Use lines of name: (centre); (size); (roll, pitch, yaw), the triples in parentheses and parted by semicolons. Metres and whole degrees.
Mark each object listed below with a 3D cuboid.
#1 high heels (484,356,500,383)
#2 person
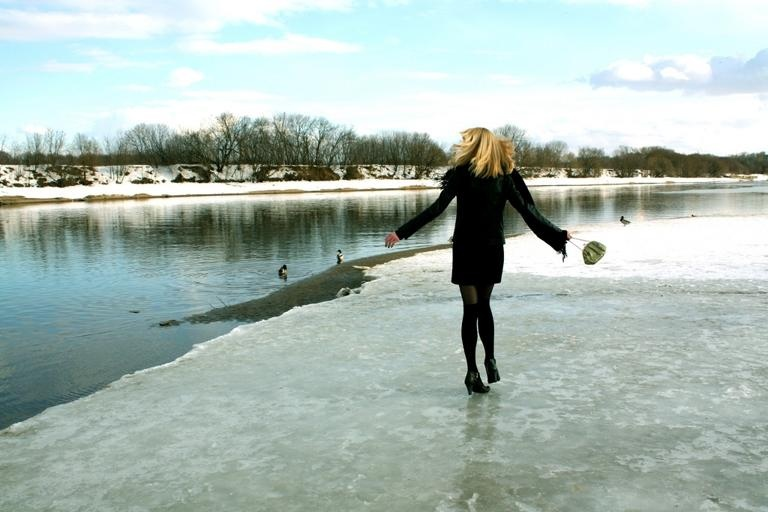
high heels: (1.361, 1.452, 7.908); (0.243, 0.302, 0.128); (0, 8, 1)
person: (1.184, 0.091, 7.590); (1.671, 3.244, 0.797); (-6, 13, -20)
